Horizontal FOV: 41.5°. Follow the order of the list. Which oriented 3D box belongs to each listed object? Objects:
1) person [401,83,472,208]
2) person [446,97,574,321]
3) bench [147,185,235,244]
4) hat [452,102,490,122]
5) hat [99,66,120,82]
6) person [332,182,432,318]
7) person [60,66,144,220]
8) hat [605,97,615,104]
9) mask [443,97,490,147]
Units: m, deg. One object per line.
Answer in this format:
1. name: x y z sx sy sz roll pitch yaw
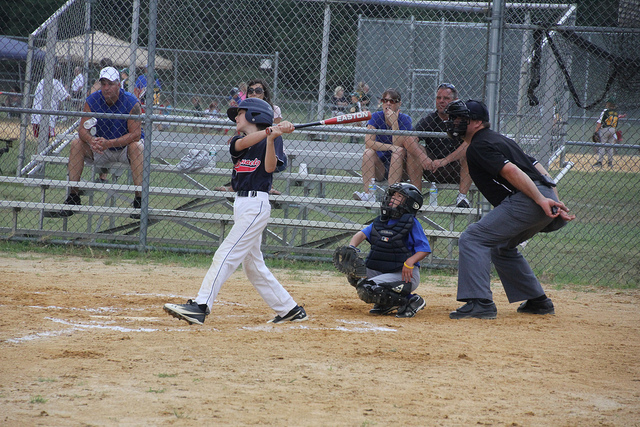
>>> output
1. person: 1.620 -0.840 11.340 0.873 1.627 1.023 14 -14 4
2. person: 2.013 -0.022 9.335 1.269 2.379 0.695 0 14 -10
3. bench: -1.853 -0.078 11.403 1.410 1.007 0.323 1 -14 27
4. hat: 1.688 -1.130 9.300 0.273 0.208 0.198 -23 16 7
5. hat: -2.832 -1.859 11.260 0.254 0.181 0.235 -1 15 -14
6. person: 0.735 0.446 9.799 1.096 1.822 1.293 8 -9 -36
7. person: -2.941 -0.957 11.382 1.056 1.996 0.828 -1 15 -13
8. hat: 4.400 -1.707 12.759 0.136 0.070 0.195 4 0 10
9. mask: 1.636 -1.050 9.409 0.472 0.447 0.380 6 6 2
